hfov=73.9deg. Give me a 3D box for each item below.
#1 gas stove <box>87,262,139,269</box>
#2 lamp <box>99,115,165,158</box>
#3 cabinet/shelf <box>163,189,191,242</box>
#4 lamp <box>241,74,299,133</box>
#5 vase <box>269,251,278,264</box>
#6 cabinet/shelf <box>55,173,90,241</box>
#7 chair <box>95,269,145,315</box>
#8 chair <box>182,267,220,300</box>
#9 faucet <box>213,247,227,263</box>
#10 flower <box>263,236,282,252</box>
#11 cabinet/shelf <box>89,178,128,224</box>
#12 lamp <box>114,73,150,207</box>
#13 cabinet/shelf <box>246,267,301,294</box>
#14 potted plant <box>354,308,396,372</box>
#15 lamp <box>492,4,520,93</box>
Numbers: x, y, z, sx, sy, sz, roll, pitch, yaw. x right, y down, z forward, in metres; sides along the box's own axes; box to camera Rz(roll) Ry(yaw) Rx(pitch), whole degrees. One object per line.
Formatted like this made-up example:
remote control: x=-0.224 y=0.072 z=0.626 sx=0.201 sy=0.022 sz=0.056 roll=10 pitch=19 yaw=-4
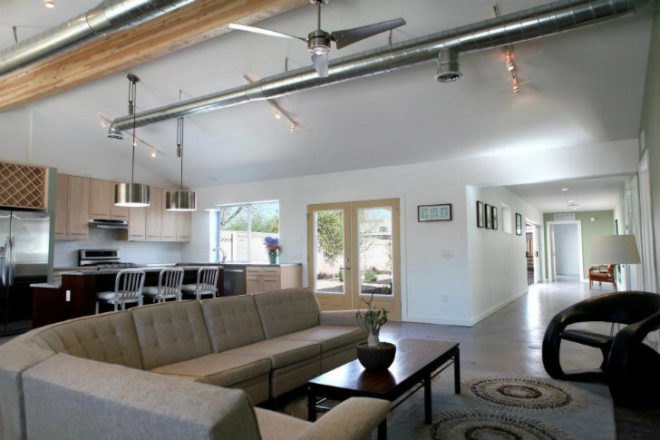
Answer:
gas stove: x=-4.333 y=0.888 z=8.888 sx=0.960 sy=0.131 sz=1.550 roll=4 pitch=-7 yaw=-45
lamp: x=-4.166 y=-1.721 z=9.106 sx=1.278 sy=0.436 sz=0.386 roll=17 pitch=13 yaw=2
cabinet/shelf: x=-3.539 y=-0.093 z=10.451 sx=0.828 sy=1.157 sz=0.478 roll=0 pitch=-2 yaw=15
lamp: x=-0.904 y=-1.887 z=7.311 sx=0.373 sy=0.486 sz=1.432 roll=-3 pitch=-6 yaw=20
vase: x=-1.213 y=0.774 z=9.406 sx=0.193 sy=0.290 sz=0.139 roll=0 pitch=-5 yaw=-8
cabinet/shelf: x=-5.122 y=-0.257 z=8.872 sx=0.710 sy=1.201 sz=0.407 roll=1 pitch=-5 yaw=3
chair: x=-3.089 y=1.154 z=6.482 sx=0.606 sy=0.829 sz=0.554 roll=1 pitch=0 yaw=24
chair: x=-2.206 y=1.172 z=7.384 sx=0.551 sy=0.779 sz=0.483 roll=-1 pitch=-3 yaw=39
faucet: x=-2.621 y=0.815 z=10.372 sx=0.322 sy=0.337 sz=0.213 roll=0 pitch=-5 yaw=-7
flower: x=-1.241 y=0.511 z=9.419 sx=0.311 sy=0.343 sz=0.307 roll=-3 pitch=-2 yaw=-6
cabinet/shelf: x=-4.391 y=-0.358 z=8.600 sx=0.353 sy=0.890 sz=0.924 roll=-6 pitch=-8 yaw=32
lamp: x=-2.790 y=-1.140 z=6.218 sx=0.578 sy=1.741 sz=0.568 roll=9 pitch=11 yaw=20
cabinet/shelf: x=-1.255 y=1.373 z=9.324 sx=0.935 sy=0.844 sz=0.634 roll=-4 pitch=-3 yaw=29
potted plant: x=0.442 y=1.156 z=4.268 sx=0.366 sy=0.539 sz=0.367 roll=1 pitch=-6 yaw=-6
lamp: x=2.195 y=-2.172 z=5.459 sx=0.123 sy=0.811 sz=0.118 roll=-8 pitch=26 yaw=24
